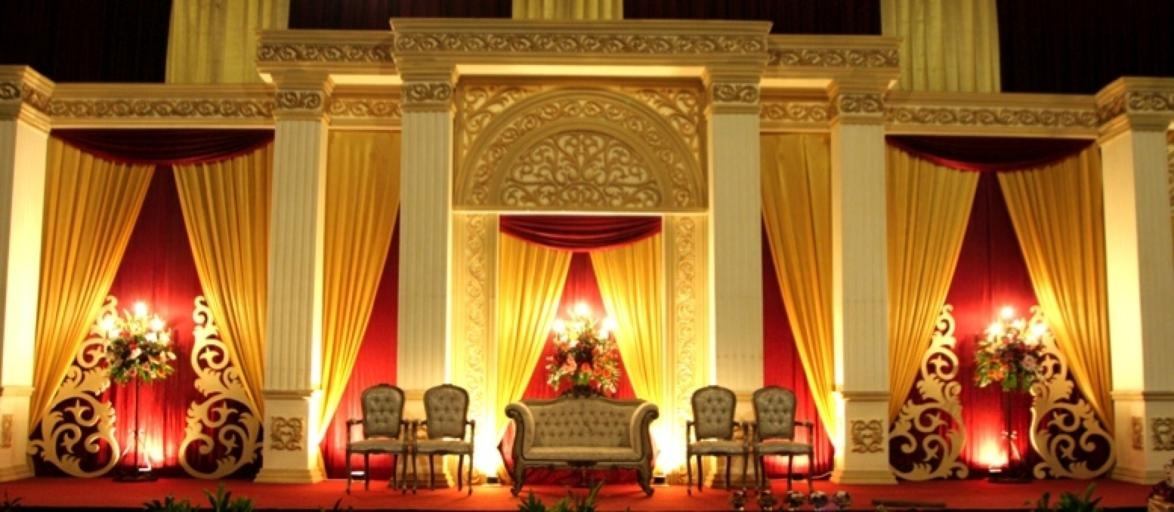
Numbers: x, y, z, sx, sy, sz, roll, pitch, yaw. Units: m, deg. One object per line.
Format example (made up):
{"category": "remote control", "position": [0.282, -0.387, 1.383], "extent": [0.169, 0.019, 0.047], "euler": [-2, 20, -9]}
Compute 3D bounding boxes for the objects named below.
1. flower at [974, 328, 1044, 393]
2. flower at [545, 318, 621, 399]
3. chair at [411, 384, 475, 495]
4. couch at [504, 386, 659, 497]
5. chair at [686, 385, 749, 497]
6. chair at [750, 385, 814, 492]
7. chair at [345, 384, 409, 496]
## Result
{"category": "flower", "position": [8.481, 2.030, 29.539], "extent": [1.320, 1.190, 0.759], "euler": [-36, -12, 12]}
{"category": "flower", "position": [-0.148, 1.912, 29.327], "extent": [1.505, 1.349, 0.960], "euler": [-3, 0, 11]}
{"category": "chair", "position": [-2.726, 3.487, 28.489], "extent": [1.136, 2.075, 0.749], "euler": [2, -14, -4]}
{"category": "couch", "position": [0.313, 3.647, 29.201], "extent": [3.431, 2.068, 1.511], "euler": [-4, -9, 36]}
{"category": "chair", "position": [2.476, 3.498, 28.463], "extent": [1.221, 2.081, 0.917], "euler": [-2, -14, 10]}
{"category": "chair", "position": [3.746, 3.482, 28.506], "extent": [1.151, 1.983, 1.445], "euler": [-1, -14, 6]}
{"category": "chair", "position": [-4.039, 3.502, 28.594], "extent": [1.184, 2.066, 1.228], "euler": [3, -14, -9]}
